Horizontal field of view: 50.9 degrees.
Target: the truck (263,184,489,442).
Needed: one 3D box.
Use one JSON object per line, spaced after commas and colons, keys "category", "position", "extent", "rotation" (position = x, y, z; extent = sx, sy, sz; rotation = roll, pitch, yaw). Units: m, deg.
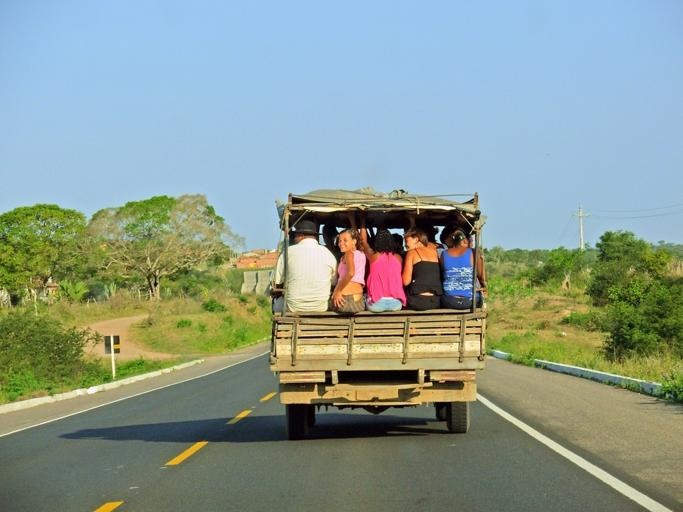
{"category": "truck", "position": [0.641, 0.748, 14.326], "extent": [2.950, 3.423, 5.061], "rotation": [0, 1, 1]}
